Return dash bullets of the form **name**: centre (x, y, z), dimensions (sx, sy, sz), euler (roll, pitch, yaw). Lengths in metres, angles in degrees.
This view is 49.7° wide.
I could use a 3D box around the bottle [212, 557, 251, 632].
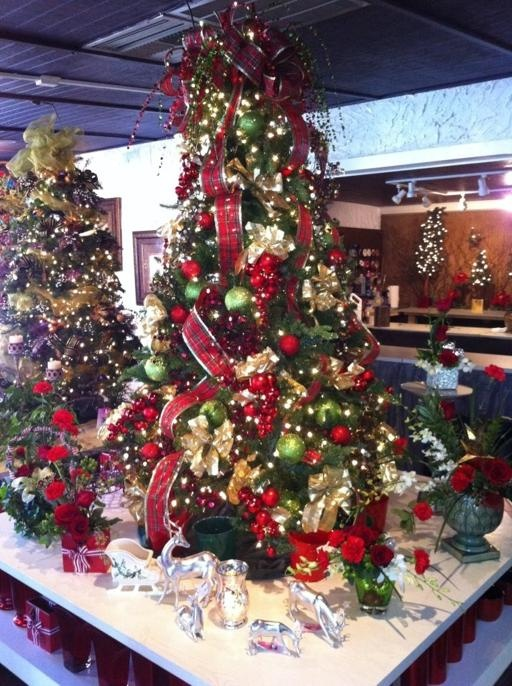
- **bottle**: centre (-0.053, 0.559, 1.232), dimensions (0.073, 0.146, 0.117), euler (-2, 4, -2)
